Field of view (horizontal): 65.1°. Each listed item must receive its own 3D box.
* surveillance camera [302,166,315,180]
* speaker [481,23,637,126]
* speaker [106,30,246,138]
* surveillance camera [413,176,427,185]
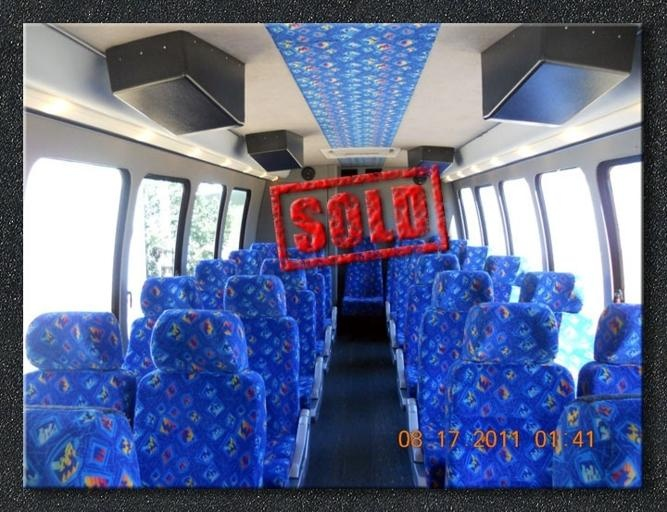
[{"bbox_3d":[-0.116,-0.392,2.447,0.081,0.068,0.036,6,14,43],"label":"surveillance camera"},{"bbox_3d":[0.819,-0.625,1.995,0.367,0.239,0.371,3,-14,-21],"label":"speaker"},{"bbox_3d":[-0.649,-0.737,2.196,0.555,0.213,0.564,3,-7,-21],"label":"speaker"},{"bbox_3d":[0.389,-0.343,2.349,0.061,0.040,0.009,-7,11,-12],"label":"surveillance camera"}]
